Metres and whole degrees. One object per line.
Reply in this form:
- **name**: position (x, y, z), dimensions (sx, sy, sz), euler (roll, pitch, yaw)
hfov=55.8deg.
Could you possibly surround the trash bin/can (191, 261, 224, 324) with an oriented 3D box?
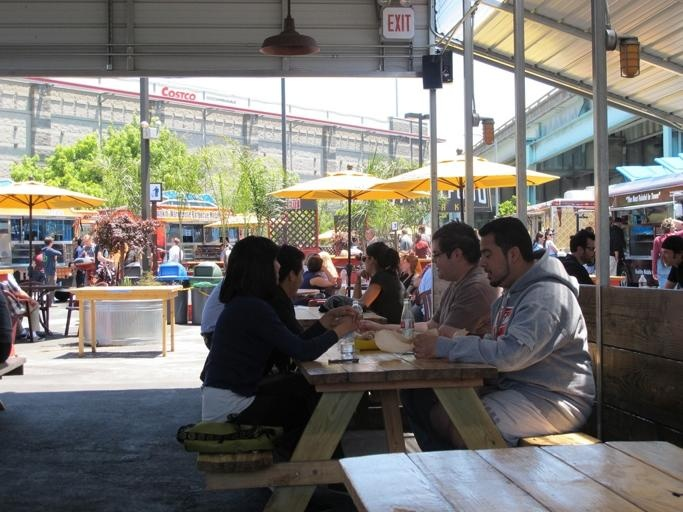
- **trash bin/can**: position (-2.942, 0.815, 14.085), dimensions (0.917, 1.293, 0.915), euler (2, 2, 22)

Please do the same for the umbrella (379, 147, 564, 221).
- **umbrella**: position (1.915, -1.137, 10.784), dimensions (2.531, 1.126, 2.259), euler (-1, 2, -43)

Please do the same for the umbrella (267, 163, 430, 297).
- **umbrella**: position (0.250, -0.682, 12.769), dimensions (2.584, 2.267, 2.580), euler (-2, 4, -23)

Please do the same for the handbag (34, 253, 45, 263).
- **handbag**: position (-9.001, 0.077, 19.284), dimensions (0.370, 0.352, 0.201), euler (2, -6, -23)

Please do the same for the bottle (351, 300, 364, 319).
- **bottle**: position (0.124, 0.400, 4.919), dimensions (0.115, 0.190, 0.115), euler (-1, -5, 0)

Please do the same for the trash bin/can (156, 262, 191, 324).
- **trash bin/can**: position (-3.971, 0.879, 15.180), dimensions (1.033, 1.384, 0.998), euler (0, 1, 13)

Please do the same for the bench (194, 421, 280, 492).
- **bench**: position (-0.626, 1.069, 3.637), dimensions (0.564, 0.234, 0.201), euler (0, 1, -6)

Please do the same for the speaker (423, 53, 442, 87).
- **speaker**: position (1.190, -2.415, 8.465), dimensions (0.277, 0.431, 0.132), euler (1, 1, 14)

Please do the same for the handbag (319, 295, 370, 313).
- **handbag**: position (0.034, 0.440, 5.949), dimensions (0.331, 0.119, 0.355), euler (0, -2, 3)

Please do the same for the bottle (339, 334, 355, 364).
- **bottle**: position (-0.003, 0.569, 3.953), dimensions (0.127, 0.195, 0.119), euler (0, -7, 0)

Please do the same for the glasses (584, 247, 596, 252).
- **glasses**: position (2.843, -0.082, 7.351), dimensions (0.101, 0.032, 0.104), euler (0, -5, -2)

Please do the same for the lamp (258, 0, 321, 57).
- **lamp**: position (-0.603, -2.488, 7.235), dimensions (0.675, 0.720, 0.687), euler (-1, 0, -12)

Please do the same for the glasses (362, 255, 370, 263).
- **glasses**: position (0.362, 0.040, 9.905), dimensions (0.149, 0.154, 0.052), euler (-3, -8, -3)

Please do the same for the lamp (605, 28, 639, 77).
- **lamp**: position (3.421, -2.545, 7.910), dimensions (0.434, 0.677, 0.238), euler (2, 2, -3)

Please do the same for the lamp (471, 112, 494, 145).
- **lamp**: position (2.862, -2.650, 13.073), dimensions (0.454, 0.462, 0.282), euler (3, 19, 8)

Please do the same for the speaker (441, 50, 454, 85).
- **speaker**: position (1.375, -2.465, 8.422), dimensions (0.134, 0.440, 0.098), euler (1, 2, 21)
